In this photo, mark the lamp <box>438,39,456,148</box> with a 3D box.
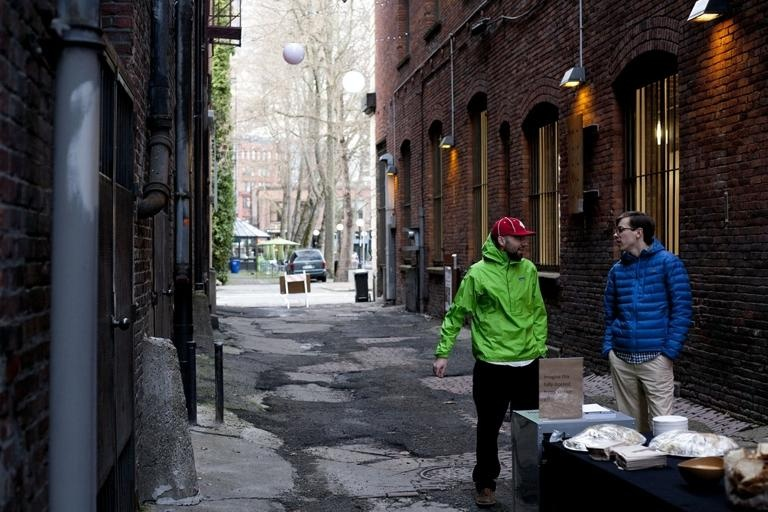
[{"bbox_3d":[1.743,-4.446,18.851,0.332,2.984,0.729,0,1,-1],"label":"lamp"}]

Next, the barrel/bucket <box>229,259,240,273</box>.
[{"bbox_3d":[-12.400,0.878,57.073,0.919,1.051,0.932,0,-4,0],"label":"barrel/bucket"}]

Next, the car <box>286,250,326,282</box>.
[{"bbox_3d":[-4.906,0.666,44.189,1.506,1.534,3.276,0,6,-11],"label":"car"}]

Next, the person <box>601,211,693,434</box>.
[{"bbox_3d":[2.317,0.605,6.087,0.726,1.987,0.397,0,1,26],"label":"person"}]

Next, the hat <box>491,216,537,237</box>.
[{"bbox_3d":[1.160,-0.246,6.300,0.435,0.251,0.292,5,3,7],"label":"hat"}]

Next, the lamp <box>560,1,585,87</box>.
[{"bbox_3d":[3.259,-3.687,11.854,0.369,1.531,0.672,0,1,3],"label":"lamp"}]

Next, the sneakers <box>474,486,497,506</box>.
[{"bbox_3d":[0.909,2.154,6.154,0.182,0.159,0.165,0,1,7],"label":"sneakers"}]

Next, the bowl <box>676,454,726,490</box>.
[{"bbox_3d":[1.659,1.120,3.561,0.172,0.068,0.156,-8,8,6],"label":"bowl"}]

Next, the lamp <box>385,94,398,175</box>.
[{"bbox_3d":[0.301,-4.458,25.695,0.364,2.949,1.137,0,1,2],"label":"lamp"}]

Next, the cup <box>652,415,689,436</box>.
[{"bbox_3d":[1.847,1.077,4.430,0.177,0.116,0.188,-1,-2,0],"label":"cup"}]

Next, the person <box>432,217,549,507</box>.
[{"bbox_3d":[0.992,0.945,6.251,0.951,2.559,0.436,0,1,8],"label":"person"}]
